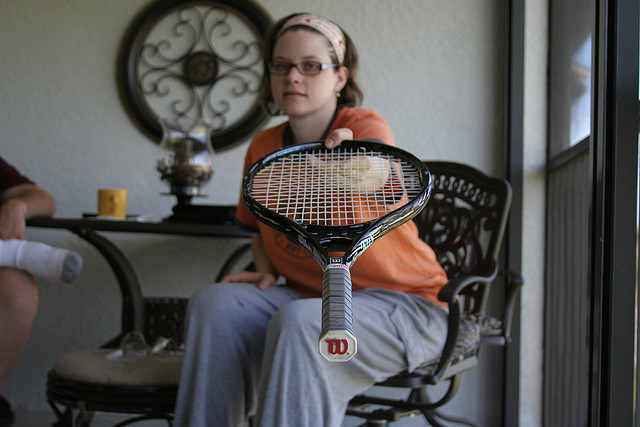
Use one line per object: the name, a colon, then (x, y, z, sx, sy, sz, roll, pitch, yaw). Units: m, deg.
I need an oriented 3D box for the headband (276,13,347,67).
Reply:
headband: (-0.029, -0.637, 2.579, 0.266, 0.181, 0.083, 4, -4, -5)

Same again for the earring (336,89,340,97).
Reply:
earring: (0.066, -0.459, 2.667, 0.016, 0.024, 0.006, 1, -24, 4)

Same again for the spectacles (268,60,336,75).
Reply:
spectacles: (-0.066, -0.528, 2.550, 0.235, 0.058, 0.050, 3, -4, 5)

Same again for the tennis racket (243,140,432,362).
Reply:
tennis racket: (0.039, 0.042, 2.205, 0.637, 0.155, 1.172, 2, 31, 1)
